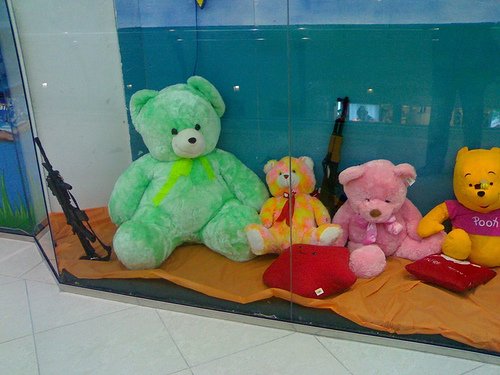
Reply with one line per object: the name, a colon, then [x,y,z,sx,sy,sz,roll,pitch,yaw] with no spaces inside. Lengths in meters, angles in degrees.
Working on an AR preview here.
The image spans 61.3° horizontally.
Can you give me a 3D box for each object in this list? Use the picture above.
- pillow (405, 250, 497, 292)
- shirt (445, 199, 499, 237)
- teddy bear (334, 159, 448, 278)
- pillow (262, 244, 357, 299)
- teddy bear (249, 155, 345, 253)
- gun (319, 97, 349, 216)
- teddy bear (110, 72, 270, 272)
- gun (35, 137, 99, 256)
pillow: [1.099,0.452,2.320,0.402,0.121,0.251,16,24,35]
shirt: [1.239,0.168,2.338,0.206,0.192,0.111,0,7,8]
teddy bear: [0.795,0.183,2.458,0.694,0.642,0.503,-4,21,8]
pillow: [0.334,0.459,2.476,0.510,0.172,0.522,-10,14,-17]
teddy bear: [0.308,0.063,2.611,0.718,0.682,0.517,-2,10,19]
gun: [0.453,-0.156,2.316,0.117,0.654,0.055,2,20,3]
teddy bear: [-0.396,-0.105,2.743,1.033,1.051,0.764,-6,24,-16]
gun: [-1.178,0.050,2.751,0.139,0.788,0.262,-24,14,-2]
